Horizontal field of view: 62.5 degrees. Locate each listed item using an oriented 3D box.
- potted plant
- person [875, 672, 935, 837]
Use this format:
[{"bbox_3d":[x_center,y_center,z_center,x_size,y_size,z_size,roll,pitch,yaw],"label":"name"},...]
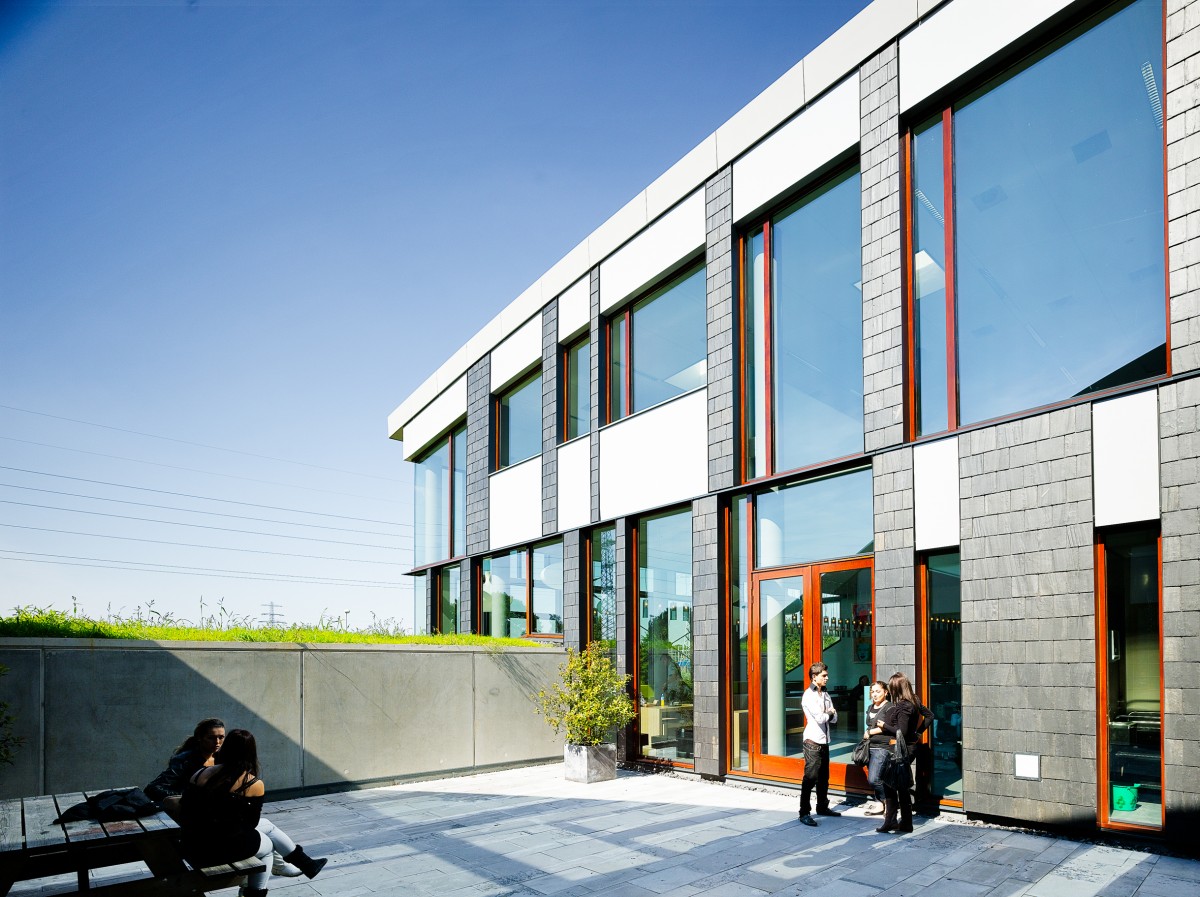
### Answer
[{"bbox_3d":[-0.228,4.132,15.593,1.375,1.992,1.817,-2,-4,-4],"label":"potted plant"},{"bbox_3d":[3.590,3.550,11.636,0.440,1.712,1.004,-4,-4,35],"label":"person"}]
